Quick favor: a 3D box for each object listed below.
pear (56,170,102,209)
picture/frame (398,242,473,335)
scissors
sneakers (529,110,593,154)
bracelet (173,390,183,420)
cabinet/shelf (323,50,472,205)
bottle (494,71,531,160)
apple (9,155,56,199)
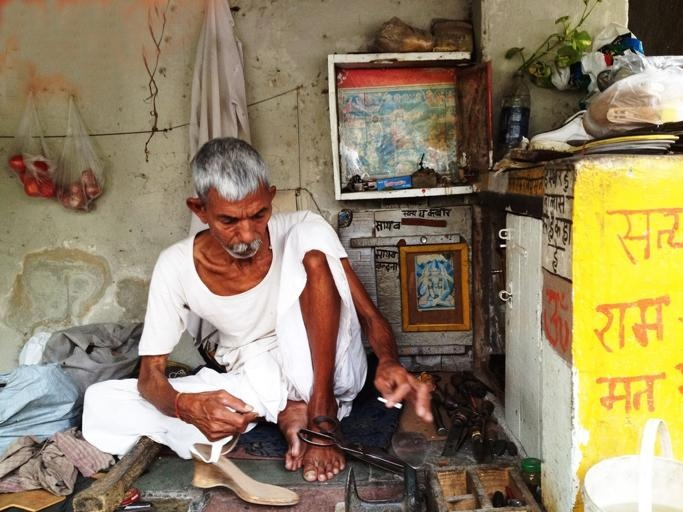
[{"bbox_3d":[-1.841,-0.458,4.765,0.237,0.299,0.164,-29,3,-13],"label":"pear"},{"bbox_3d":[0.658,0.194,4.635,0.589,0.791,0.065,0,1,1],"label":"picture/frame"},{"bbox_3d":[0.037,0.963,3.404,0.571,0.085,0.236,14,19,27],"label":"scissors"},{"bbox_3d":[1.328,-0.711,3.833,0.554,0.254,0.224,-3,13,-14],"label":"sneakers"},{"bbox_3d":[-0.846,0.762,3.470,0.038,0.110,0.078,2,5,1],"label":"bracelet"},{"bbox_3d":[0.413,-0.903,4.610,1.055,1.041,0.289,-4,1,-4],"label":"cabinet/shelf"},{"bbox_3d":[1.109,-0.912,4.381,0.216,0.549,0.135,-1,4,12],"label":"bottle"},{"bbox_3d":[-2.159,-0.570,4.750,0.286,0.306,0.119,0,18,13],"label":"apple"}]
